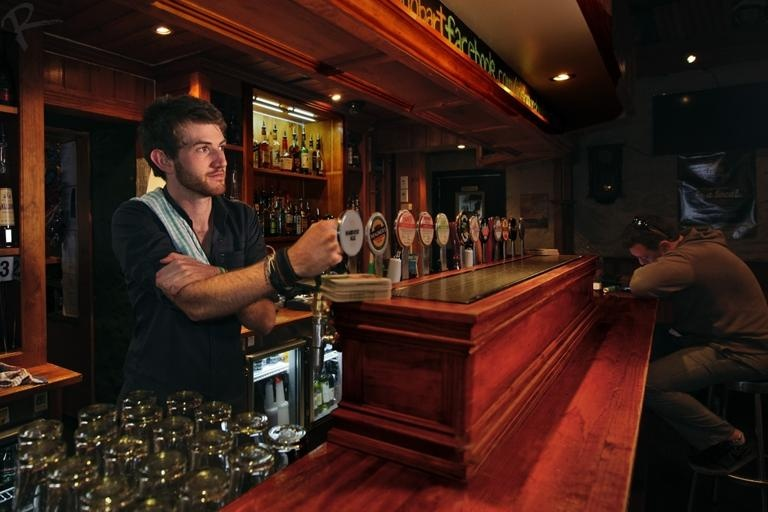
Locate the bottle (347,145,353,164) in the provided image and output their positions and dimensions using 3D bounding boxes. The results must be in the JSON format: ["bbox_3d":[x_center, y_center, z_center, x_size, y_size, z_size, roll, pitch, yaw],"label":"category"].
[{"bbox_3d":[-0.388,-1.198,6.365,0.021,0.210,0.115,0,5,27],"label":"bottle"}]

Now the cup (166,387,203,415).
[{"bbox_3d":[-0.855,0.617,2.389,0.104,0.081,0.105,4,-1,0],"label":"cup"}]

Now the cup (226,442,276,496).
[{"bbox_3d":[-0.504,0.851,2.269,0.200,0.206,0.178,1,7,4],"label":"cup"}]

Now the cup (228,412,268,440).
[{"bbox_3d":[-0.561,0.700,2.346,0.103,0.103,0.107,2,1,0],"label":"cup"}]

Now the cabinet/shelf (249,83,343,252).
[{"bbox_3d":[-0.818,-0.892,5.085,0.477,1.455,1.508,-1,-1,33],"label":"cabinet/shelf"}]

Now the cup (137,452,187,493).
[{"bbox_3d":[-0.819,0.816,2.085,0.139,0.151,0.149,3,0,0],"label":"cup"}]

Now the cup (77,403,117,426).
[{"bbox_3d":[-1.164,0.652,2.295,0.107,0.092,0.107,2,-8,0],"label":"cup"}]

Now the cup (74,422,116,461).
[{"bbox_3d":[-1.121,0.716,2.212,0.135,0.147,0.141,4,10,-1],"label":"cup"}]

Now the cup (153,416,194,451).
[{"bbox_3d":[-0.841,0.724,2.298,0.137,0.143,0.137,2,-8,0],"label":"cup"}]

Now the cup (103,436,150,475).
[{"bbox_3d":[-0.985,0.772,2.136,0.136,0.143,0.132,1,3,0],"label":"cup"}]

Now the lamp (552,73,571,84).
[{"bbox_3d":[1.506,-1.568,4.750,0.152,0.036,0.263,-1,6,19],"label":"lamp"}]

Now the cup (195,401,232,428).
[{"bbox_3d":[-0.708,0.655,2.323,0.102,0.106,0.104,2,-10,0],"label":"cup"}]

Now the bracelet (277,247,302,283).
[{"bbox_3d":[-0.448,0.037,2.620,0.056,0.143,0.123,-9,11,-35],"label":"bracelet"}]

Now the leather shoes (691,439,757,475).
[{"bbox_3d":[2.375,1.413,3.991,0.542,0.241,0.186,-3,-4,-11],"label":"leather shoes"}]

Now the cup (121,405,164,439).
[{"bbox_3d":[-0.988,0.679,2.275,0.119,0.136,0.138,1,-8,2],"label":"cup"}]

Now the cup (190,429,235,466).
[{"bbox_3d":[-0.663,0.750,2.219,0.135,0.216,0.133,1,-6,0],"label":"cup"}]
